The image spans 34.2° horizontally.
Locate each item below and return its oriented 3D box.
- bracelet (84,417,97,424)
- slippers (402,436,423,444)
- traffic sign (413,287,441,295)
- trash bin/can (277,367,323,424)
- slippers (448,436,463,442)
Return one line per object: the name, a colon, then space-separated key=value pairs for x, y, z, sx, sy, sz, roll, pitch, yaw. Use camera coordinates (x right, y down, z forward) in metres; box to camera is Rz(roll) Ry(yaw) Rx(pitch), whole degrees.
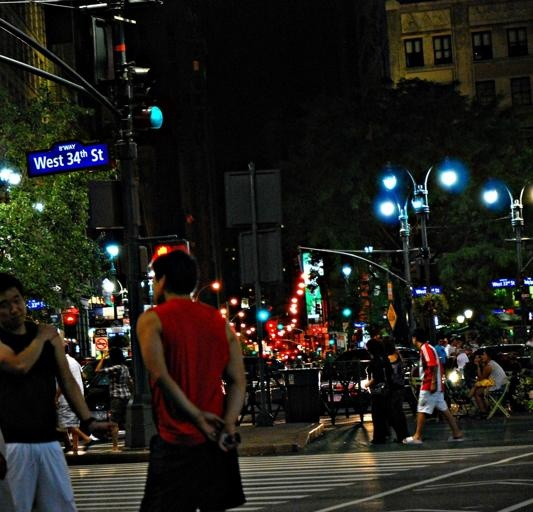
bracelet: x=-1.058 y=0.983 z=5.169 sx=0.058 sy=0.017 sz=0.052 roll=-15 pitch=1 yaw=2
slippers: x=2.529 y=3.206 z=15.018 sx=0.319 sy=0.109 sz=0.161 roll=2 pitch=-2 yaw=1
traffic sign: x=6.004 y=1.311 z=32.534 sx=1.252 sy=0.192 sz=0.287 roll=5 pitch=7 yaw=-39
trash bin/can: x=0.793 y=3.210 z=20.509 sx=1.362 sy=1.350 sz=1.107 roll=-1 pitch=4 yaw=-6
slippers: x=3.297 y=3.193 z=15.057 sx=0.273 sy=0.101 sz=0.094 roll=-5 pitch=1 yaw=-13
